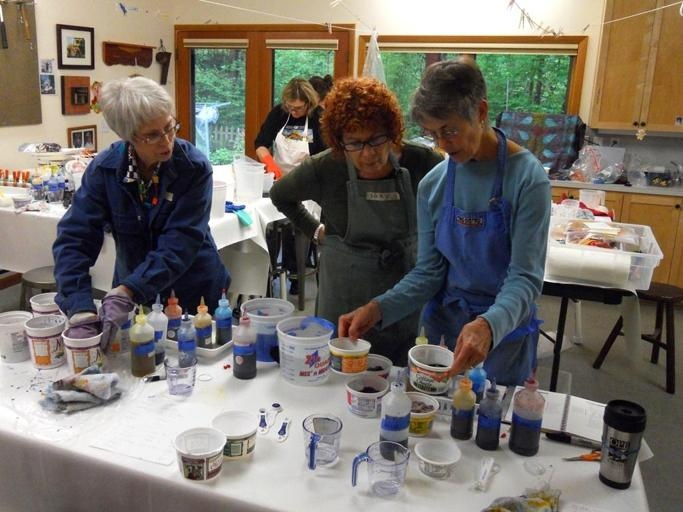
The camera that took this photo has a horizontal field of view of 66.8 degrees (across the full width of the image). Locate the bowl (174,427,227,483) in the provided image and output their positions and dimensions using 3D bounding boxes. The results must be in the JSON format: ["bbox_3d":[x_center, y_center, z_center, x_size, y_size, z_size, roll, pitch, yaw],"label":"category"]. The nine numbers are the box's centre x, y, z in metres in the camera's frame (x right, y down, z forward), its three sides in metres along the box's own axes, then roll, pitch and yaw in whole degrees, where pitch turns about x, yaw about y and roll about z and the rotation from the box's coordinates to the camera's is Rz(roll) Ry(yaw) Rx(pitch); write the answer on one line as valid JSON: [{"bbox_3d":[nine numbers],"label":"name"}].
[{"bbox_3d":[-0.412,0.580,1.503,0.144,0.100,0.144,5,8,-1],"label":"bowl"}]

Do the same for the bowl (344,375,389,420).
[{"bbox_3d":[0.089,0.492,1.813,0.150,0.096,0.148,2,8,0],"label":"bowl"}]

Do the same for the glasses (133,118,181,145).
[{"bbox_3d":[-0.766,-0.523,2.208,0.087,0.095,0.195,16,22,41],"label":"glasses"}]

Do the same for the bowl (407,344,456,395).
[{"bbox_3d":[0.317,0.425,1.859,0.180,0.124,0.181,6,4,0],"label":"bowl"}]

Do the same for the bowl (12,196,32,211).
[{"bbox_3d":[-2.201,-0.361,3.581,0.108,0.081,0.107,3,8,0],"label":"bowl"}]

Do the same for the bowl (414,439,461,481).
[{"bbox_3d":[0.294,0.601,1.600,0.138,0.068,0.176,2,16,2],"label":"bowl"}]

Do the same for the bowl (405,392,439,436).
[{"bbox_3d":[0.257,0.546,1.711,0.101,0.073,0.103,1,-4,0],"label":"bowl"}]

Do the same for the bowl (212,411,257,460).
[{"bbox_3d":[-0.326,0.550,1.588,0.144,0.101,0.158,2,13,-1],"label":"bowl"}]

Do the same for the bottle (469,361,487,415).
[{"bbox_3d":[0.482,0.452,1.785,0.051,0.159,0.051,-3,-10,-1],"label":"bottle"}]

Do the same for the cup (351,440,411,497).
[{"bbox_3d":[0.120,0.607,1.481,0.172,0.119,0.113,-11,20,-21],"label":"cup"}]

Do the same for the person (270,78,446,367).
[{"bbox_3d":[0.147,0.047,2.467,0.827,1.679,0.559,-6,23,-5],"label":"person"}]

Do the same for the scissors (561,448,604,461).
[{"bbox_3d":[0.749,0.626,1.613,0.115,0.022,0.048,-4,19,3],"label":"scissors"}]

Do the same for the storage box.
[{"bbox_3d":[1.535,-0.062,3.046,0.497,0.212,0.635,8,25,25],"label":"storage box"}]

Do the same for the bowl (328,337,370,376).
[{"bbox_3d":[0.030,0.387,1.984,0.156,0.102,0.160,4,6,0],"label":"bowl"}]

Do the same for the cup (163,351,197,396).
[{"bbox_3d":[-0.578,0.433,1.887,0.100,0.107,0.150,1,6,-2],"label":"cup"}]

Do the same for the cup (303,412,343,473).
[{"bbox_3d":[-0.044,0.560,1.584,0.111,0.117,0.137,5,20,11],"label":"cup"}]
